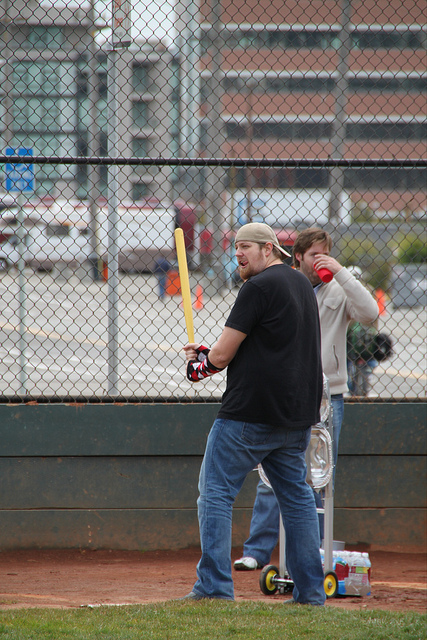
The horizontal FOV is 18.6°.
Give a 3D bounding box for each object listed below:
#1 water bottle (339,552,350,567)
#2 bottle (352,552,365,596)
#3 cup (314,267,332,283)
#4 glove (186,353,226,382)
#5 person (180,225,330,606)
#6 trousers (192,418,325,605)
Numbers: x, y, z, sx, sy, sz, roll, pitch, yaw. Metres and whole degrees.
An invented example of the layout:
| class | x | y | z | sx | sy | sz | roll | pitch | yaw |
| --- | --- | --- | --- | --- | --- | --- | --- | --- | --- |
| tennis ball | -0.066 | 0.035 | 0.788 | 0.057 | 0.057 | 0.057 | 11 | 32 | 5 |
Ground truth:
| class | x | y | z | sx | sy | sz | roll | pitch | yaw |
| --- | --- | --- | --- | --- | --- | --- | --- | --- | --- |
| water bottle | 0.832 | 1.518 | 8.247 | 0.055 | 0.076 | 0.085 | -1 | 2 | -4 |
| bottle | 0.921 | 1.616 | 8.240 | 0.077 | 0.269 | 0.068 | -1 | 2 | 6 |
| cup | 0.693 | -0.276 | 8.178 | 0.081 | 0.085 | 0.129 | -5 | -17 | 4 |
| glove | -0.047 | 0.295 | 7.672 | 0.205 | 0.091 | 0.133 | -19 | 6 | 42 |
| person | 0.255 | 0.563 | 7.638 | 0.820 | 2.246 | 0.408 | -1 | 2 | -1 |
| trousers | 0.329 | 1.043 | 7.711 | 0.744 | 0.465 | 1.703 | 2 | 40 | 7 |
